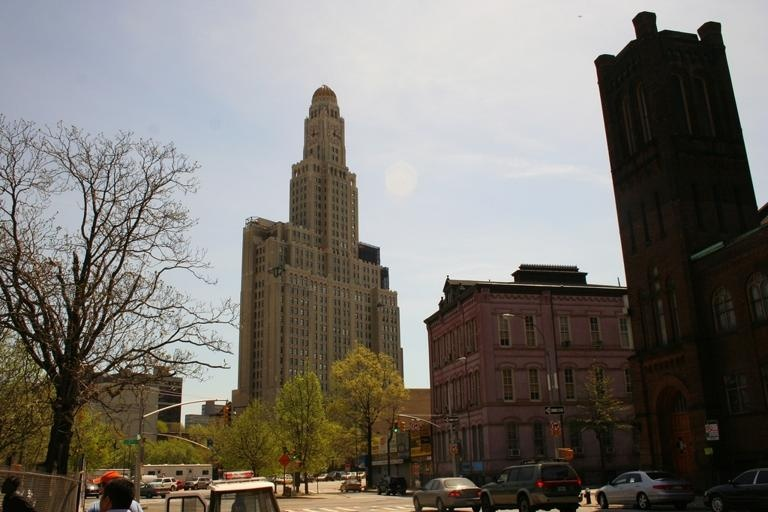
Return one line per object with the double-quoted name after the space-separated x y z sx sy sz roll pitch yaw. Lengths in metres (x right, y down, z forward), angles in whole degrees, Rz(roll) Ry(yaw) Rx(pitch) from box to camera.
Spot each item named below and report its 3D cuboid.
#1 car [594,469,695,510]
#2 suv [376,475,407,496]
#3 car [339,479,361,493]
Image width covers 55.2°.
14.325 13.101 41.217 2.316 1.689 5.308 10 -21 -23 "car"
0.810 22.138 70.420 1.718 1.381 2.933 7 -14 -17 "suv"
-3.484 24.624 78.420 1.909 1.299 2.062 6 -22 -17 "car"
